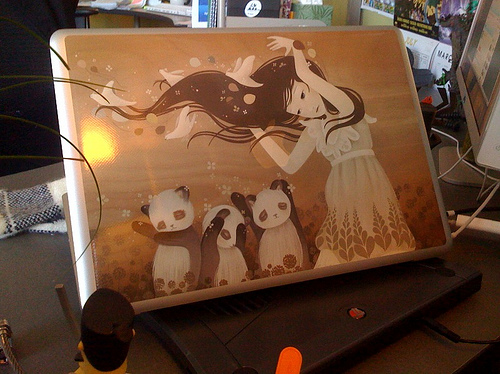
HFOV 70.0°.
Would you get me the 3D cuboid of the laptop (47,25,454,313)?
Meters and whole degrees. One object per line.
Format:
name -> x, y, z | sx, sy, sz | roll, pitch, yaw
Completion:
laptop -> 0.015, -0.067, 0.632 | 0.609, 0.409, 0.256 | -6, 21, -9
